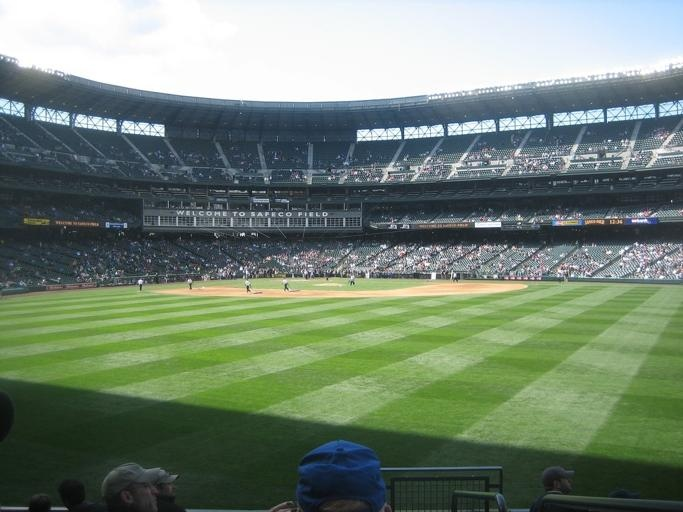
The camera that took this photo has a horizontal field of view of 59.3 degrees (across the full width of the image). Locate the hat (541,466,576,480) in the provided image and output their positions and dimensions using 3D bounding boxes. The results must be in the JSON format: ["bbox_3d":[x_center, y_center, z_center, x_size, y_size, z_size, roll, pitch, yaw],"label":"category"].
[{"bbox_3d":[3.862,3.811,10.437,0.637,0.143,0.325,-6,-4,-2],"label":"hat"}]
